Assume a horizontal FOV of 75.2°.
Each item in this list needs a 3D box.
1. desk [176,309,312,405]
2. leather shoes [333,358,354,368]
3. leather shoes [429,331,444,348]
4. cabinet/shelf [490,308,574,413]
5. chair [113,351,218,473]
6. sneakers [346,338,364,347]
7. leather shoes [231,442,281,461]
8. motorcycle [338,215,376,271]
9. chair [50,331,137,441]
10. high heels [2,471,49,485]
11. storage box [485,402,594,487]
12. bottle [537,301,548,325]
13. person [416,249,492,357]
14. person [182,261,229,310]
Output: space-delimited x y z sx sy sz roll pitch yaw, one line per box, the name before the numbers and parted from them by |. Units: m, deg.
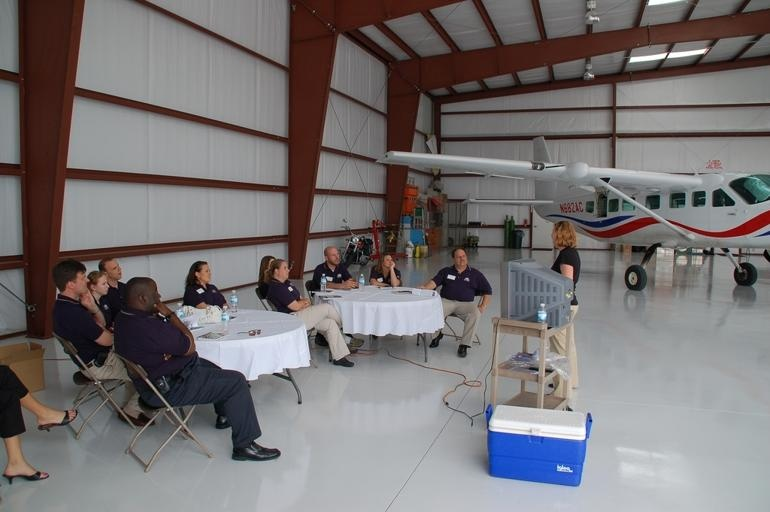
desk | -1.396 0.885 5.535 1.075 0.595 1.043 4 4 28
leather shoes | -0.582 1.461 6.851 0.242 0.107 0.127 -1 -2 10
leather shoes | 0.788 1.307 7.763 0.109 0.135 0.324 -13 20 47
cabinet/shelf | 1.597 1.152 5.389 0.451 0.946 1.091 1 -2 31
chair | -2.221 1.489 5.166 0.770 1.132 0.646 -3 19 -37
sneakers | -0.475 1.334 7.695 0.321 0.136 0.112 -1 7 10
leather shoes | -1.294 1.917 5.003 0.412 0.180 0.191 -1 -4 -6
motorcycle | -0.864 -0.196 15.110 0.884 0.936 1.419 25 -4 13
chair | -3.223 1.328 5.543 0.596 0.844 0.489 2 1 -38
high heels | -3.379 2.077 4.669 0.271 0.073 0.107 -6 1 -21
storage box | 1.482 1.552 4.821 1.026 0.673 0.599 1 -2 15
bottle | 1.620 0.607 5.166 0.103 0.200 0.270 4 14 16
person | 1.069 0.646 7.519 0.938 1.540 0.913 6 0 13
person | -2.466 0.379 6.895 0.680 0.773 0.536 0 0 11
